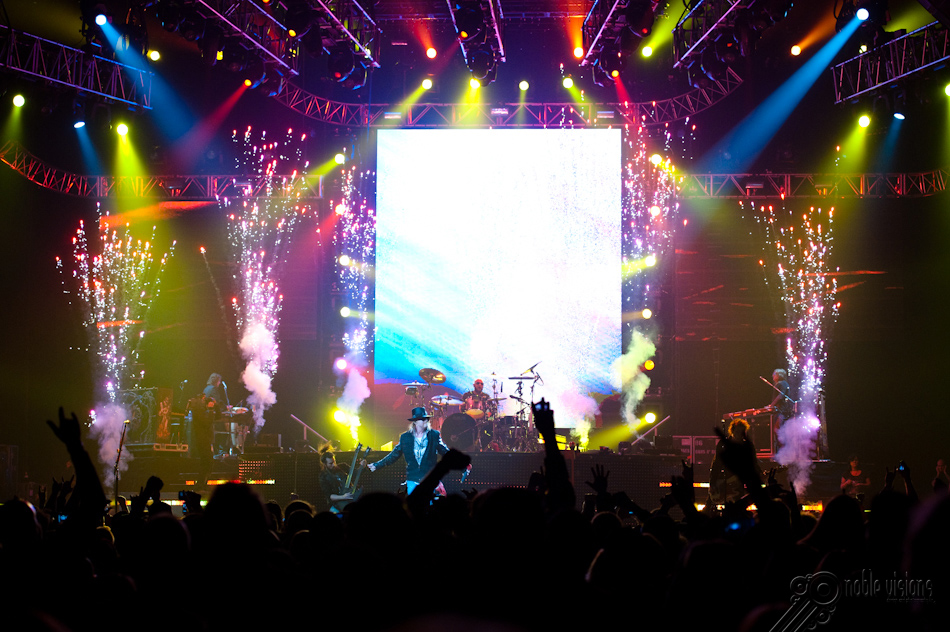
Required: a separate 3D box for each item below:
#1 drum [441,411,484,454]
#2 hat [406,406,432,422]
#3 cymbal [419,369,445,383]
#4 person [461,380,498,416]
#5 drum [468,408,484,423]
[{"bbox_3d":[-0.285,2.234,18.101,1.078,1.021,1.138,-1,-4,-1],"label":"drum"},{"bbox_3d":[-0.866,1.543,14.738,0.520,0.221,0.591,-3,-4,16],"label":"hat"},{"bbox_3d":[-0.927,1.262,19.854,0.497,0.265,0.268,11,-33,4],"label":"cymbal"},{"bbox_3d":[0.082,1.697,19.056,0.648,0.686,0.709,4,-3,-11],"label":"person"},{"bbox_3d":[-0.009,1.979,18.570,0.228,0.202,0.230,4,9,27],"label":"drum"}]
